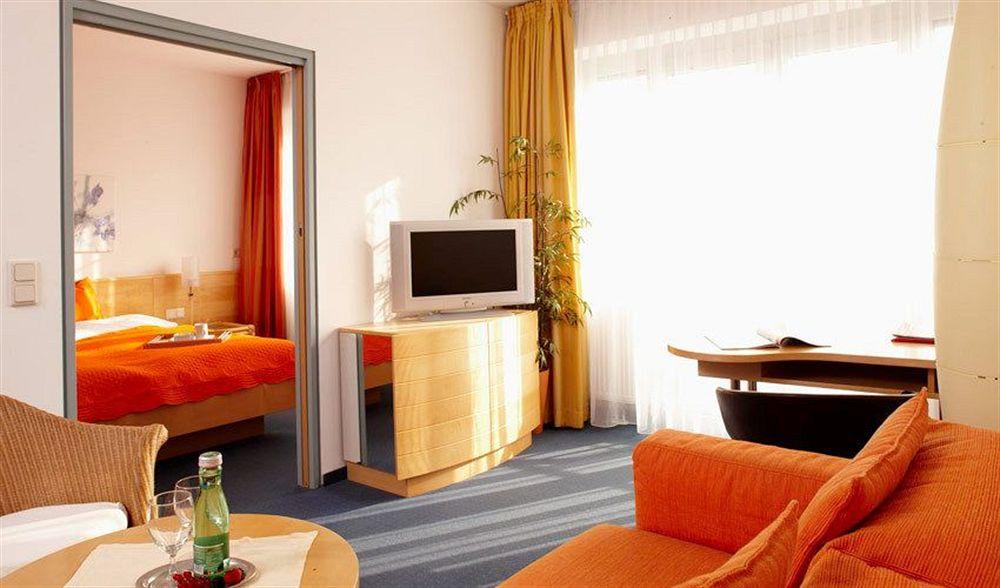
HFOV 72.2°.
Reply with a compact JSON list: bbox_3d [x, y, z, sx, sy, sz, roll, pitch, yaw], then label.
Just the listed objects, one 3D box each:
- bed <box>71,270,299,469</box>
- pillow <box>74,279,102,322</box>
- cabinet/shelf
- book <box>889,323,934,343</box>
[{"bbox_3d":[-3.036,0.594,5.731,1.814,0.867,1.697,2,4,37],"label":"bed"},{"bbox_3d":[-3.818,0.064,6.307,0.318,0.257,0.302,-14,-11,-20],"label":"pillow"},{"bbox_3d":[-0.384,0.743,5.112,1.503,1.156,0.609,-10,17,-34],"label":"cabinet/shelf"},{"bbox_3d":[2.570,0.242,4.282,0.255,0.091,0.118,0,0,27],"label":"book"}]
